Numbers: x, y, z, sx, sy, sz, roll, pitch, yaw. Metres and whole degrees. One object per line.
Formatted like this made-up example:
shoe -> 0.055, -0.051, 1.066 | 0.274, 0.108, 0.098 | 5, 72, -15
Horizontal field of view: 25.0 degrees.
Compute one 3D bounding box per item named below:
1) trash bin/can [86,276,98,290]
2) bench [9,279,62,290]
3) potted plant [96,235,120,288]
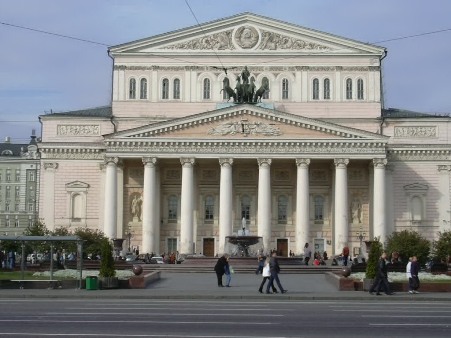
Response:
trash bin/can -> -7.723, 6.555, 58.892 | 0.797, 0.953, 0.733 | 0, -2, -24
bench -> -11.146, 6.634, 59.259 | 3.127, 0.503, 0.764 | 1, -6, -9
potted plant -> -6.957, 5.575, 60.156 | 1.057, 2.895, 1.403 | 1, -6, -6
